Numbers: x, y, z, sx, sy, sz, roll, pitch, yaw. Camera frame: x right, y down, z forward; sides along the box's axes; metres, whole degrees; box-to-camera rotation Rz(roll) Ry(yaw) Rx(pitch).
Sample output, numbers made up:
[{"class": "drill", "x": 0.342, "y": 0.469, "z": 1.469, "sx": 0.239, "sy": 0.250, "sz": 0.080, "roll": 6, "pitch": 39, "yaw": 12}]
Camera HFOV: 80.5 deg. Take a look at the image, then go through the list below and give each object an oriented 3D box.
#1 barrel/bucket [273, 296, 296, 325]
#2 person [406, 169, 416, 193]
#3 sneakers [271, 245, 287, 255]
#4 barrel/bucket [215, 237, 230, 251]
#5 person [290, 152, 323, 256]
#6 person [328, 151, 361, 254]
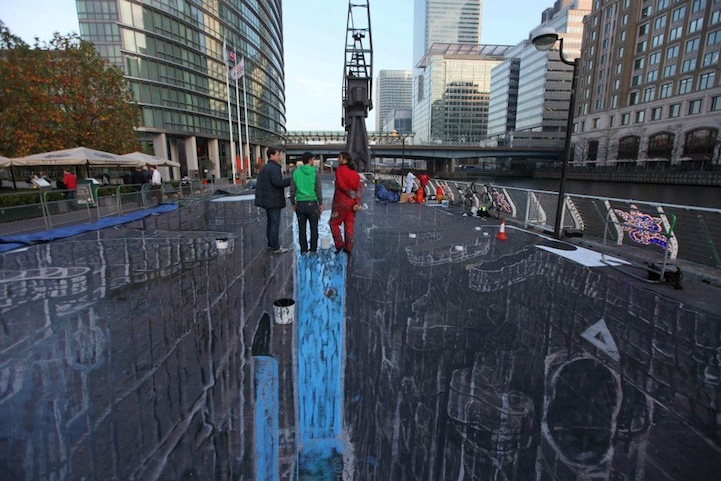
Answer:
[{"class": "barrel/bucket", "x": -1.361, "y": 1.276, "z": 7.680, "sx": 0.387, "sy": 0.447, "sz": 0.409, "roll": 2, "pitch": 10, "yaw": 0}, {"class": "person", "x": 2.540, "y": -2.979, "z": 21.926, "sx": 0.507, "sy": 1.000, "sz": 1.767, "roll": 0, "pitch": 16, "yaw": 7}, {"class": "sneakers", "x": -2.056, "y": 0.271, "z": 10.899, "sx": 0.313, "sy": 0.165, "sz": 0.154, "roll": -12, "pitch": 19, "yaw": -18}, {"class": "barrel/bucket", "x": -3.769, "y": 0.098, "z": 11.650, "sx": 0.319, "sy": 0.270, "sz": 0.363, "roll": 1, "pitch": 1, "yaw": -2}, {"class": "person", "x": -1.330, "y": -0.932, "z": 10.443, "sx": 0.727, "sy": 2.413, "sz": 1.059, "roll": -3, "pitch": 15, "yaw": -6}, {"class": "person", "x": -0.394, "y": -0.935, "z": 10.752, "sx": 0.796, "sy": 2.569, "sz": 1.381, "roll": -2, "pitch": 15, "yaw": -2}]
